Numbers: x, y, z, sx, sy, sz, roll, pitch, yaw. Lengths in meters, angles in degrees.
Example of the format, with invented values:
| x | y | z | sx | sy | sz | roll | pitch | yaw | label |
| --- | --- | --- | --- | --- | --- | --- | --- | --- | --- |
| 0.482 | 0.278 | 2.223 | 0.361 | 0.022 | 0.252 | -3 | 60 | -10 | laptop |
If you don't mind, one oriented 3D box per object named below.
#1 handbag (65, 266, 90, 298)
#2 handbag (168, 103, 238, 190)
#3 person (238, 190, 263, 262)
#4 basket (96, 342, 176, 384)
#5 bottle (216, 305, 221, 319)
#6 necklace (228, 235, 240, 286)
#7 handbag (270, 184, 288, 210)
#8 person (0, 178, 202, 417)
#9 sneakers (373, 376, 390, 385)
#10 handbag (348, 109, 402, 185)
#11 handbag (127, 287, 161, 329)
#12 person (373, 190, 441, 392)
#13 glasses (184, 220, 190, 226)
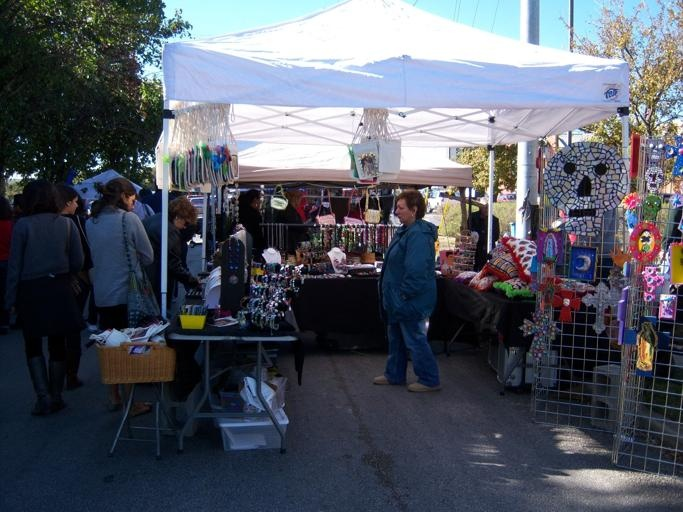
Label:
| x | y | z | sx | sy | sz | roll | pitch | yaw | label |
| --- | --- | --- | --- | --- | --- | --- | --- | --- | --- |
| -2.729 | 0.261 | 6.077 | 0.145 | 0.233 | 0.301 | 5 | -27 | -19 | handbag |
| -1.319 | -1.029 | 5.555 | 0.493 | 0.835 | 0.329 | -4 | 11 | -1 | handbag |
| -1.224 | -0.489 | 8.042 | 0.349 | 0.795 | 1.917 | -1 | 8 | -9 | person |
| -1.543 | 0.813 | 4.477 | 0.410 | 0.242 | 0.329 | 0 | -1 | -13 | basket |
| -1.022 | 0.461 | 4.887 | 0.033 | 0.100 | 0.078 | -3 | 8 | -27 | bottle |
| -0.858 | 0.050 | 4.779 | 0.099 | 0.363 | 0.055 | 6 | 9 | 43 | necklace |
| -0.835 | -0.742 | 7.773 | 0.205 | 0.160 | 0.414 | 6 | 44 | -9 | handbag |
| -2.488 | 0.362 | 5.484 | 1.209 | 2.135 | 0.868 | -1 | 7 | -12 | person |
| 0.436 | 1.326 | 6.287 | 0.152 | 0.081 | 0.075 | 4 | -3 | -3 | sneakers |
| 0.338 | -1.126 | 5.987 | 0.464 | 0.734 | 0.723 | 0 | 7 | -2 | handbag |
| -1.706 | 0.427 | 5.080 | 0.255 | 0.306 | 0.282 | -3 | 8 | -22 | handbag |
| 0.685 | 0.365 | 6.033 | 0.661 | 2.046 | 0.438 | 3 | 7 | 22 | person |
| -1.615 | -0.344 | 6.187 | 0.045 | 0.035 | 0.050 | -1 | 16 | -1 | glasses |
